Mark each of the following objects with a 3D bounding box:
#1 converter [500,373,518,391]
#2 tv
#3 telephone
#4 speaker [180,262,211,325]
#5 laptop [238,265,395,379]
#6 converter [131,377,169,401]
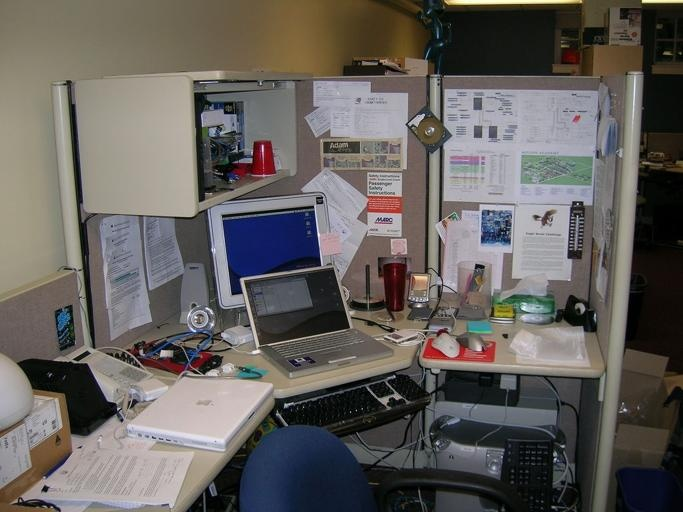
[{"bbox_3d":[0.719,0.542,2.445,0.076,0.073,0.073,4,42,9],"label":"converter"},{"bbox_3d":[-0.307,0.017,2.326,0.483,0.451,0.063,-11,1,-29],"label":"tv"},{"bbox_3d":[-0.800,0.377,1.902,0.230,0.062,0.168,26,21,13],"label":"telephone"},{"bbox_3d":[-0.629,0.151,2.378,0.115,0.239,0.128,2,5,-27],"label":"speaker"},{"bbox_3d":[-0.129,0.247,2.197,0.433,0.272,0.429,-8,14,-32],"label":"laptop"},{"bbox_3d":[-0.643,0.435,1.869,0.071,0.040,0.076,17,22,32],"label":"converter"}]
